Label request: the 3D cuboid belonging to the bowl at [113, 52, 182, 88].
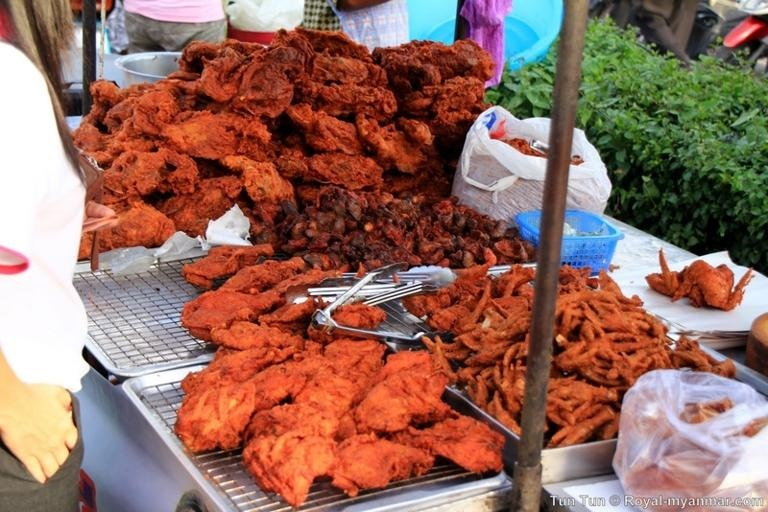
[{"bbox_3d":[-1.620,-1.244,3.769,0.390,0.153,0.737,-3,32,-15],"label":"bowl"}]
